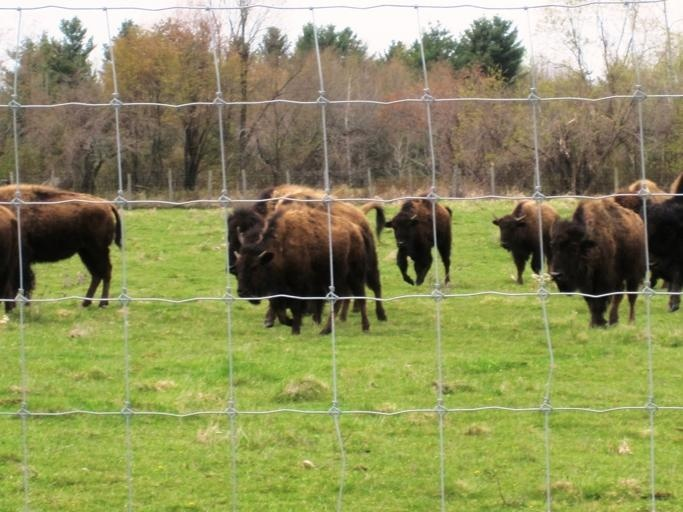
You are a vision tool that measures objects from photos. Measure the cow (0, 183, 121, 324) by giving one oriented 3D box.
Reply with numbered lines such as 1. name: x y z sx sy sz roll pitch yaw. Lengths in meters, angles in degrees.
1. cow: -3.957 -0.076 20.272 1.584 1.290 1.003 -1 1 -24

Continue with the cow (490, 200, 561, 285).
1. cow: 3.335 -0.188 24.606 0.742 1.360 2.470 -4 1 31

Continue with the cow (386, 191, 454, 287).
1. cow: 1.323 -0.222 23.755 1.036 0.965 1.371 -1 1 3
